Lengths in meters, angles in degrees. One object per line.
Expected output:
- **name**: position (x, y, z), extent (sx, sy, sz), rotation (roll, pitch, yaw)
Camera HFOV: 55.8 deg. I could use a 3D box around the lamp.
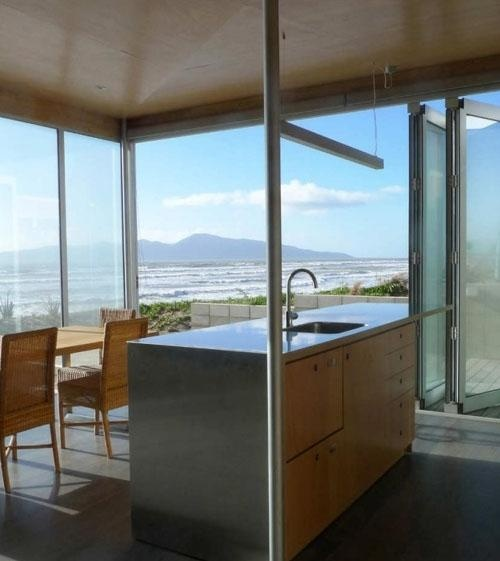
- **lamp**: position (0.478, -0.812, 2.815), extent (0.178, 0.274, 1.260), rotation (-2, -2, 34)
